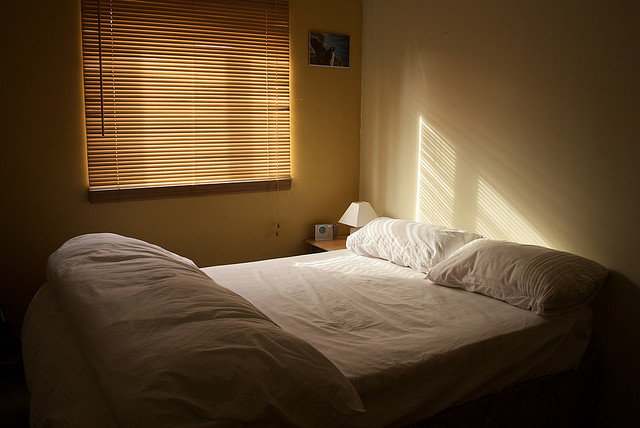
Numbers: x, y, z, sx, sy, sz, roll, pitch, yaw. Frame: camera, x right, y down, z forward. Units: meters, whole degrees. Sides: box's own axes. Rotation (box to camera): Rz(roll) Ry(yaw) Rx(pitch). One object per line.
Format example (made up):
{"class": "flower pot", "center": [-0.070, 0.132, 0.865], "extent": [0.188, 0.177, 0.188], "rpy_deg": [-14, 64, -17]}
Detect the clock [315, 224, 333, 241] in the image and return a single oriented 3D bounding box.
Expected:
{"class": "clock", "center": [0.033, 0.164, 4.439], "extent": [0.235, 0.180, 0.129], "rpy_deg": [-2, 4, -22]}

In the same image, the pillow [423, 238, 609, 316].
{"class": "pillow", "center": [1.206, 0.370, 2.796], "extent": [0.525, 0.163, 0.612], "rpy_deg": [-27, 22, -31]}
